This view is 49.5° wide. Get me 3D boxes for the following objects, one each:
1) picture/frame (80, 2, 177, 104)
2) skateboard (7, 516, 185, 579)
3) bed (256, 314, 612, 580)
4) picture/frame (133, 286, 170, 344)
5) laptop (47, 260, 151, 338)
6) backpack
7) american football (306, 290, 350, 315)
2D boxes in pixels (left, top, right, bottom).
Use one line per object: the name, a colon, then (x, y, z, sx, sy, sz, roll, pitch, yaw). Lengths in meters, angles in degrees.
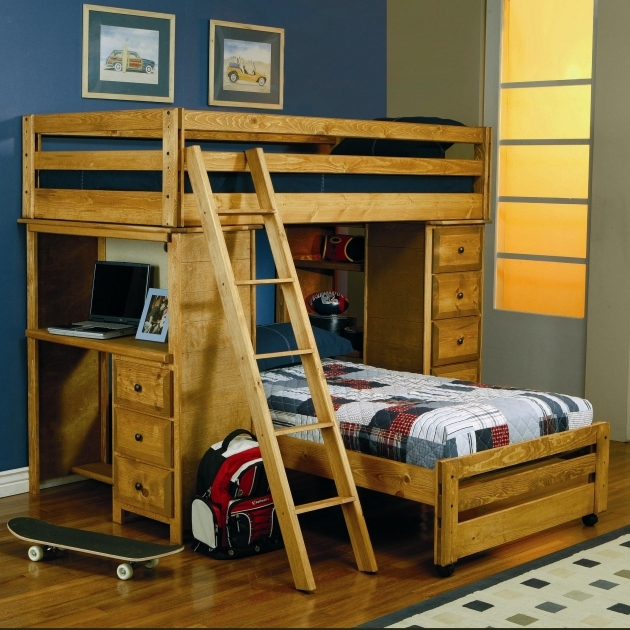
picture/frame: (-0.981, -1.349, 3.516, 0.039, 0.504, 0.695, 8, 10, 43)
skateboard: (-0.862, 0.858, 2.564, 0.811, 0.112, 0.290, 1, 7, 25)
bed: (0.304, 0.418, 3.190, 1.155, 0.848, 1.633, -3, 4, -41)
picture/frame: (-0.723, 0.009, 3.043, 0.022, 0.267, 0.273, 16, -14, -40)
laptop: (-0.969, -0.083, 3.252, 0.508, 0.316, 0.415, 6, 7, 39)
backpack: (-0.313, 0.683, 2.617, 0.265, 0.433, 0.229, -9, 10, -43)
american football: (0.079, -0.075, 4.187, 0.188, 0.083, 0.164, 6, 10, 36)
